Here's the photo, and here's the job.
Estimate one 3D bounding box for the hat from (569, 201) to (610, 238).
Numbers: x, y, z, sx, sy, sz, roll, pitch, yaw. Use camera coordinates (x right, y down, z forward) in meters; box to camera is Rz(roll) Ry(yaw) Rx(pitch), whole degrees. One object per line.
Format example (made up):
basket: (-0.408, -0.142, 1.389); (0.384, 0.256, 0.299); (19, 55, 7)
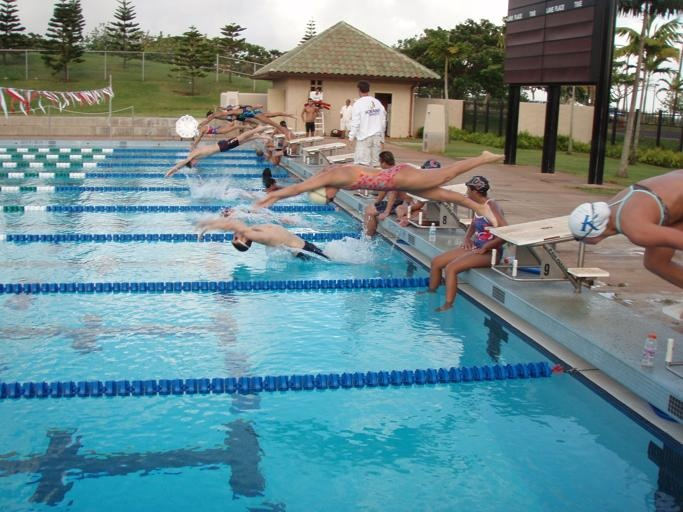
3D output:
hat: (1.422, -0.214, 3.202); (0.289, 0.177, 0.176); (-13, 22, 4)

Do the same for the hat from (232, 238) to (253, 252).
hat: (-1.036, -0.133, 5.724); (0.160, 0.086, 0.164); (0, 34, -8)

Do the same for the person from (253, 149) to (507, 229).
person: (0.341, -0.527, 4.378); (1.537, 0.344, 0.724); (1, 2, 2)

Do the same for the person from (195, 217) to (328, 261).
person: (-0.738, -0.188, 5.488); (1.291, 0.196, 0.446); (6, 1, -30)

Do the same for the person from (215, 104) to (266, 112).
person: (-2.372, -3.365, 12.599); (0.520, 0.177, 1.103); (8, 16, 24)

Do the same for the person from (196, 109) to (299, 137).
person: (-2.292, -3.182, 12.709); (2.532, 0.503, 1.201); (-3, 4, -15)

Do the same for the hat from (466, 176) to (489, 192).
hat: (1.131, -0.624, 4.713); (0.200, 0.086, 0.131); (15, 24, 27)
